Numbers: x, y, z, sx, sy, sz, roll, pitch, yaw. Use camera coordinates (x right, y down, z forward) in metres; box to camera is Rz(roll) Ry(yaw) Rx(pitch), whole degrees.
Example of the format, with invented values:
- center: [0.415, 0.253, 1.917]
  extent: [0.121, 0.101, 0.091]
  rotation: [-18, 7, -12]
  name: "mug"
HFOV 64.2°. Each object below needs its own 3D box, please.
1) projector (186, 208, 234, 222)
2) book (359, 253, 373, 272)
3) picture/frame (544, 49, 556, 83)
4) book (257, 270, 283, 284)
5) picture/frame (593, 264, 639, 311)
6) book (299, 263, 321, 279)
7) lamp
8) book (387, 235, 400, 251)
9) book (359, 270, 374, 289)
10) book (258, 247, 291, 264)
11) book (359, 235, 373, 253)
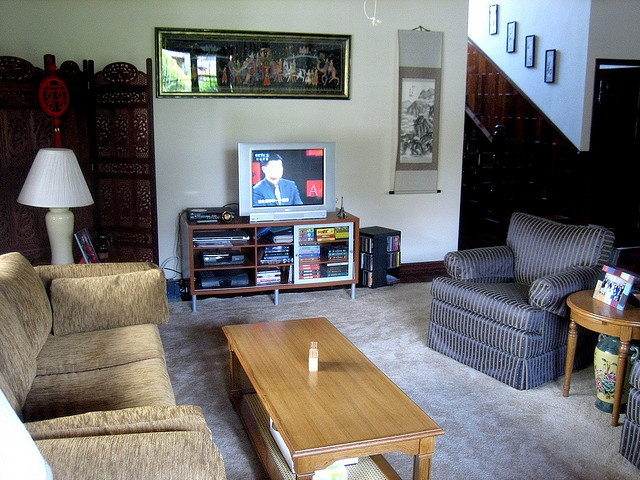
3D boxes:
- center: [-1.086, -0.252, 4.952]
  extent: [0.420, 0.105, 0.541]
  rotation: [-6, 13, -17]
  name: "projector"
- center: [0.485, 0.228, 5.469]
  extent: [0.143, 0.205, 0.195]
  rotation: [-1, 6, -15]
  name: "book"
- center: [3.296, -2.472, 7.340]
  extent: [0.082, 0.470, 0.230]
  rotation: [-6, 14, -17]
  name: "picture/frame"
- center: [-0.511, 0.366, 4.947]
  extent: [0.185, 0.093, 0.132]
  rotation: [-1, 8, -14]
  name: "book"
- center: [1.974, 0.329, 3.418]
  extent: [0.123, 0.237, 0.229]
  rotation: [-8, 17, -19]
  name: "picture/frame"
- center: [-0.107, 0.313, 5.039]
  extent: [0.215, 0.154, 0.125]
  rotation: [-1, 6, -14]
  name: "book"
- center: [-2.158, -0.259, 4.171]
  extent: [0.538, 0.948, 0.278]
  rotation: [-6, 14, -20]
  name: "lamp"
- center: [0.778, 0.027, 5.467]
  extent: [0.140, 0.144, 0.074]
  rotation: [-9, 14, -40]
  name: "book"
- center: [0.497, 0.417, 5.472]
  extent: [0.146, 0.211, 0.210]
  rotation: [-1, 10, -6]
  name: "book"
- center: [-0.432, 0.144, 4.948]
  extent: [0.322, 0.187, 0.093]
  rotation: [-3, 13, -8]
  name: "book"
- center: [0.472, 0.035, 5.442]
  extent: [0.137, 0.203, 0.196]
  rotation: [-1, 11, -11]
  name: "book"
